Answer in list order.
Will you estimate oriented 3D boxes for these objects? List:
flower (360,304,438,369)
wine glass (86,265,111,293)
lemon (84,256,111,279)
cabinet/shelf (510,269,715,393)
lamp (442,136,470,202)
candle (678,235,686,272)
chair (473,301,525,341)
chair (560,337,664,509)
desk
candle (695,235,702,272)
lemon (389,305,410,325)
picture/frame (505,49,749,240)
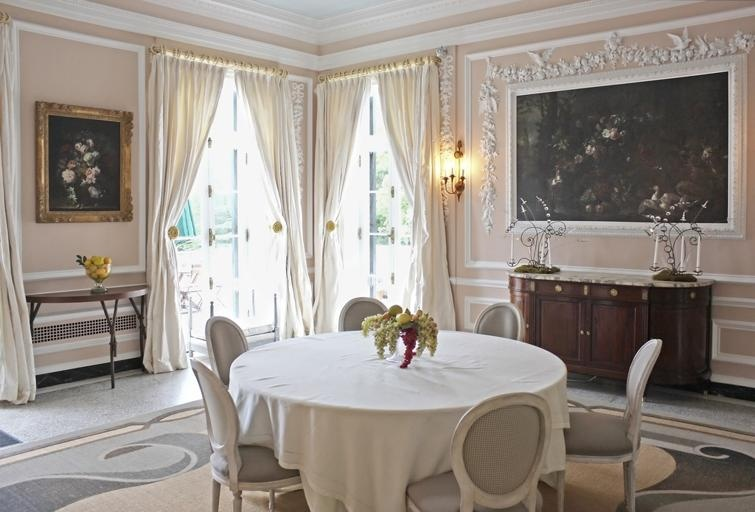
[{"bbox_3d":[0.153,0.548,3.943,0.432,0.409,0.460,5,1,41],"label":"flower"},{"bbox_3d":[-2.828,0.224,5.732,0.250,0.307,0.260,0,-4,-4],"label":"wine glass"},{"bbox_3d":[-2.851,0.103,5.776,0.219,0.236,0.270,11,17,39],"label":"lemon"},{"bbox_3d":[2.215,0.682,5.837,2.041,1.003,0.581,3,5,42],"label":"cabinet/shelf"},{"bbox_3d":[0.903,-1.052,6.746,0.333,0.701,0.163,5,14,22],"label":"lamp"},{"bbox_3d":[2.962,-0.029,5.475,0.084,0.339,0.260,7,15,28],"label":"candle"},{"bbox_3d":[1.025,0.639,4.723,0.330,0.469,0.339,-11,0,16],"label":"chair"},{"bbox_3d":[1.542,1.152,3.770,0.584,1.173,0.474,3,14,14],"label":"chair"},{"bbox_3d":[-2.897,0.843,5.863,0.521,0.953,1.321,4,4,34],"label":"desk"},{"bbox_3d":[3.070,-0.028,5.406,0.064,0.320,0.302,7,15,29],"label":"candle"},{"bbox_3d":[0.141,0.399,3.871,0.089,0.082,0.159,22,1,-6],"label":"lemon"},{"bbox_3d":[2.622,-1.170,5.734,2.033,1.482,0.094,1,0,33],"label":"picture/frame"}]
